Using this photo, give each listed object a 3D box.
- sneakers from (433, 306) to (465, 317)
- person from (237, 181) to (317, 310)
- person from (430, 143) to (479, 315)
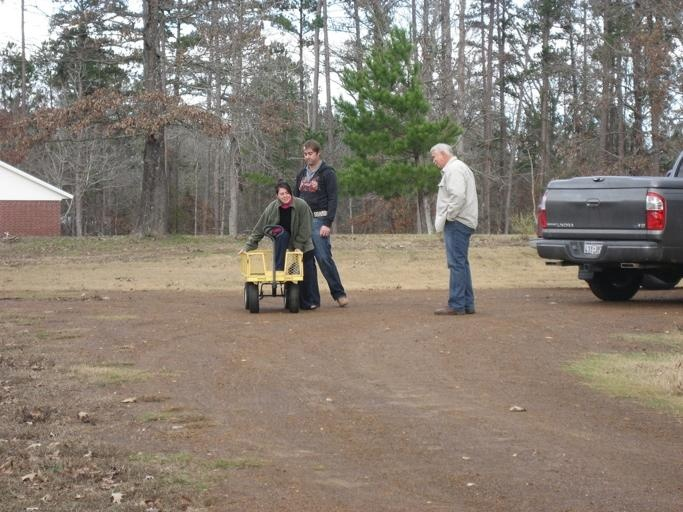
[{"bbox_3d":[1.512,0.795,12.835,0.419,0.205,0.164,4,0,-1],"label":"sneakers"},{"bbox_3d":[-0.910,-0.119,13.462,1.046,1.876,0.825,-7,8,-24],"label":"person"},{"bbox_3d":[1.626,-0.360,13.014,0.636,2.462,1.188,0,8,8],"label":"person"}]
